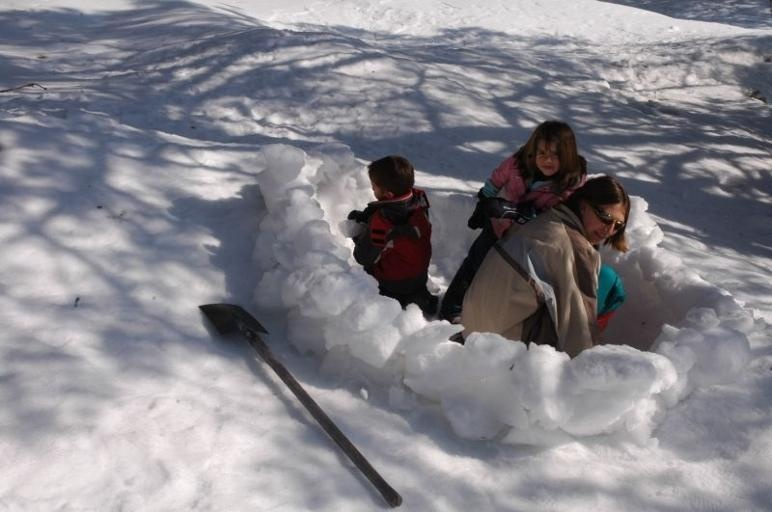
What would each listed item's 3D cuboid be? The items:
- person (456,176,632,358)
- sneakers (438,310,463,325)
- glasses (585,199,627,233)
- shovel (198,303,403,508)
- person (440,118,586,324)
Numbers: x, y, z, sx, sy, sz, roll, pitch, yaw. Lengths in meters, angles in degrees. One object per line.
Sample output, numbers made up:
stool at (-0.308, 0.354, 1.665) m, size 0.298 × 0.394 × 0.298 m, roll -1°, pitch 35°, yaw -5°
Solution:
person at (1.202, 0.157, 4.514) m, size 1.082 × 1.249 × 0.909 m, roll 17°, pitch 16°, yaw 17°
sneakers at (0.451, 0.456, 4.875) m, size 0.201 × 0.069 × 0.069 m, roll 6°, pitch 0°, yaw 43°
glasses at (1.407, -0.238, 4.291) m, size 0.211 × 0.061 × 0.206 m, roll 23°, pitch 16°, yaw -43°
shovel at (-0.777, 0.719, 4.103) m, size 2.214 × 0.107 × 0.546 m, roll 35°, pitch 36°, yaw 26°
person at (0.868, -0.286, 4.563) m, size 0.782 × 0.625 × 1.495 m, roll 27°, pitch 56°, yaw 8°
